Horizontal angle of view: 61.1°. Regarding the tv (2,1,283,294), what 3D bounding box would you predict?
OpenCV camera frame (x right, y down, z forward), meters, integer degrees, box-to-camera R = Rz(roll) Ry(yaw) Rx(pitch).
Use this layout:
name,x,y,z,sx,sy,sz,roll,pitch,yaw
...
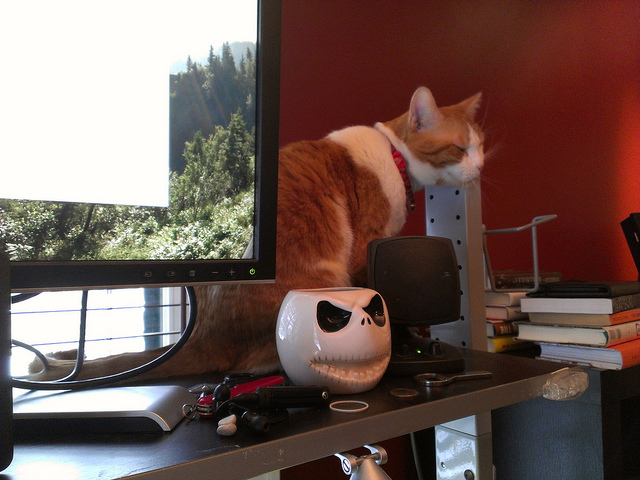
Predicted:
name,x,y,z,sx,sy,sz,roll,pitch,yaw
tv,-0.255,-0.128,0.741,0.376,0.432,0.030,-1,0,-28

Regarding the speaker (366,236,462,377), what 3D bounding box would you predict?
name,x,y,z,sx,sy,sz,roll,pitch,yaw
speaker,0.118,0.104,0.908,0.155,0.263,0.205,-1,-6,-5

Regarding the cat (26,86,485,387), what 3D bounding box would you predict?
name,x,y,z,sx,sy,sz,roll,pitch,yaw
cat,-0.093,-0.006,1.177,0.946,0.465,0.289,-12,9,-20

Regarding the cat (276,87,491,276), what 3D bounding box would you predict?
name,x,y,z,sx,sy,sz,roll,pitch,yaw
cat,0.080,-0.122,1.287,0.627,0.472,0.216,6,18,35

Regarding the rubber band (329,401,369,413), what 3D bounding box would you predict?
name,x,y,z,sx,sy,sz,roll,pitch,yaw
rubber band,0.039,0.226,0.738,0.053,0.008,0.035,-4,-4,6

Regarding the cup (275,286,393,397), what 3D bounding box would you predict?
name,x,y,z,sx,sy,sz,roll,pitch,yaw
cup,0.018,0.148,0.845,0.145,0.133,0.146,-4,-9,-1
